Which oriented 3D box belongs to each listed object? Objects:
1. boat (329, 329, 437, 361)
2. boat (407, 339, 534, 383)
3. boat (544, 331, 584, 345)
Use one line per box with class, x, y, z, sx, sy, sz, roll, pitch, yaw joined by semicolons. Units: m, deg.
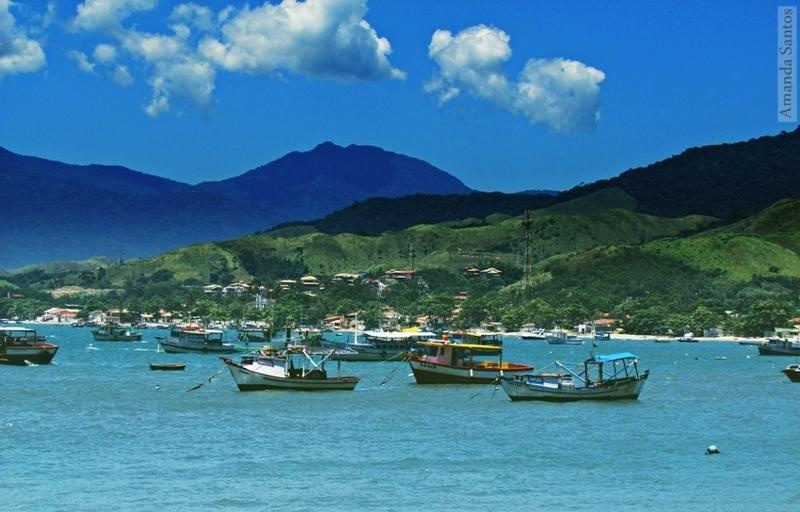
boat;-0.767;19.955;235.116;26.590;6.559;8.178;0;-7;5
boat;12.984;20.998;199.412;20.293;6.074;10.082;1;-4;8
boat;50.373;25.181;321.249;10.816;3.192;4.866;3;-3;12
